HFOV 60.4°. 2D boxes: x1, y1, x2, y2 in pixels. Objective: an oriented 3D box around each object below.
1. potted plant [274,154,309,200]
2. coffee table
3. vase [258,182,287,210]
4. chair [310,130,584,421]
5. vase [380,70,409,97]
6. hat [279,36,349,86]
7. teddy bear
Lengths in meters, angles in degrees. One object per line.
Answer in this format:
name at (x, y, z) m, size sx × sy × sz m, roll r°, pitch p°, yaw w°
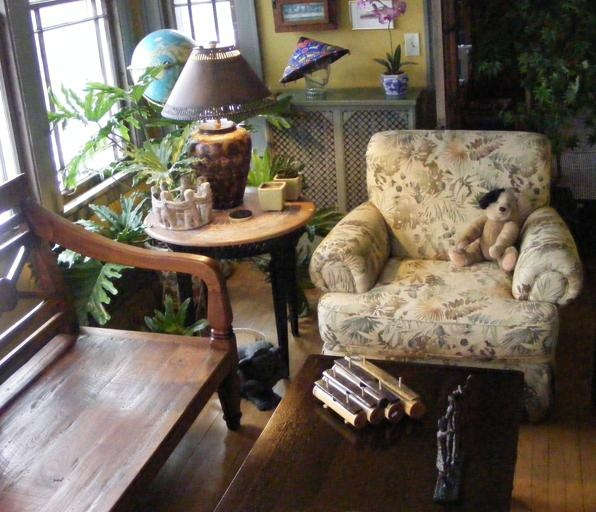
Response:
potted plant at (-0.027, -0.353, 2.340) m, size 0.169 × 0.194 × 0.176 m, roll -13°, pitch 13°, yaw -38°
coffee table at (-0.193, 0.134, 2.150) m, size 0.489 × 0.396 × 0.481 m, roll -8°, pitch -1°, yaw 6°
vase at (-0.106, -0.245, 2.133) m, size 0.131 × 0.100 × 0.123 m, roll 0°, pitch 16°, yaw 4°
chair at (0.535, 0.023, 2.396) m, size 1.409 × 1.171 × 1.195 m, roll 3°, pitch 22°, yaw 16°
vase at (0.547, -0.964, 2.892) m, size 0.171 × 0.105 × 0.140 m, roll -3°, pitch 16°, yaw 1°
hat at (0.088, -1.115, 2.901) m, size 0.288 × 0.228 × 0.280 m, roll 13°, pitch 28°, yaw 34°
teddy bear at (0.772, -0.118, 2.111) m, size 0.290 × 0.303 × 0.286 m, roll 0°, pitch 19°, yaw 17°
